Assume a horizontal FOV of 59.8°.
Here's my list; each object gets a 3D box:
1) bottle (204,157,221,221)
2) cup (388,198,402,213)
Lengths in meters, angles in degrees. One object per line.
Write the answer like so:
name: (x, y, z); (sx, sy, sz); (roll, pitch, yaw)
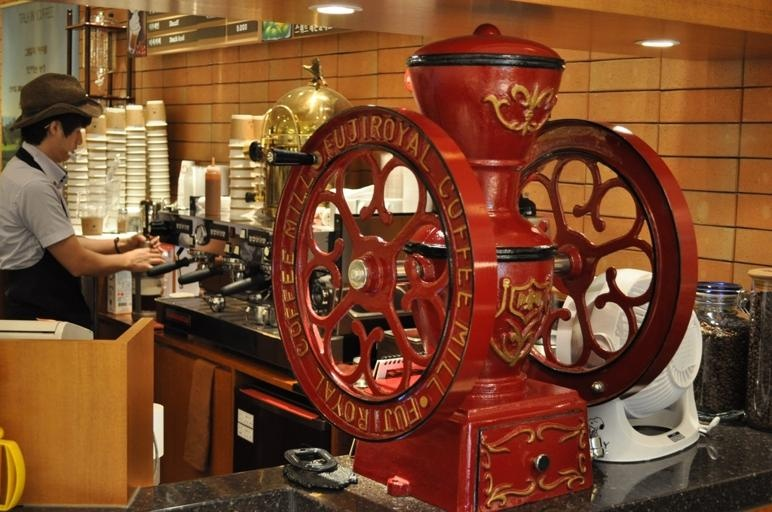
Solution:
bottle: (-0.921, -0.341, 3.585); (0.086, 0.239, 0.212); (-1, 0, -15)
cup: (0.044, -0.246, 3.282); (0.065, 0.066, 0.066); (1, 7, 0)
